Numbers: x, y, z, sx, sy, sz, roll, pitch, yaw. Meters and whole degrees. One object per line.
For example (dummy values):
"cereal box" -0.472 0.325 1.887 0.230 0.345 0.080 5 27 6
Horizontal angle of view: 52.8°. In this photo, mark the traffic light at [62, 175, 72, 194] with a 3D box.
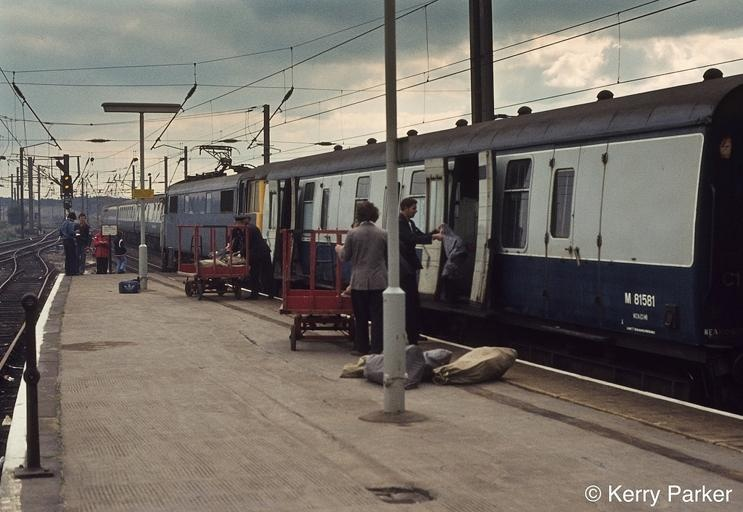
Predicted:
"traffic light" -15.108 -3.552 37.022 0.402 0.974 0.856 -2 5 -25

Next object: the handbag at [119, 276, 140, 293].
"handbag" -7.336 0.915 22.609 0.532 0.384 0.607 -1 5 -10

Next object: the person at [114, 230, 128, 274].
"person" -10.545 -0.177 31.323 0.399 1.734 0.654 -1 5 -11

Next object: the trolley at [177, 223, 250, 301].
"trolley" -4.698 0.134 22.108 2.436 1.716 1.486 3 -4 1
